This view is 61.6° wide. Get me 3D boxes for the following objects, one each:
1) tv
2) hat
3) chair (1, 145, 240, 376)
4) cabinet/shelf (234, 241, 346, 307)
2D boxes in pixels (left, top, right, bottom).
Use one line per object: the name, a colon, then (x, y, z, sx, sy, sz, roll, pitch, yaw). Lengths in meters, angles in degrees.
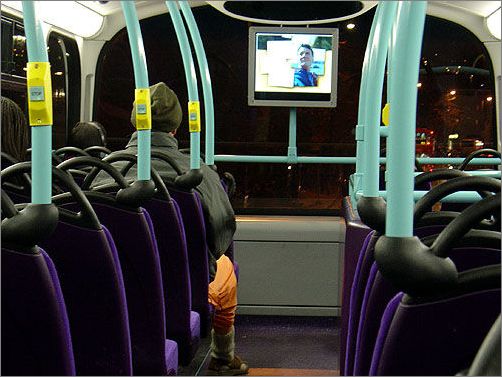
tv: (0.326, -1.015, 3.431, 0.612, 0.575, 0.065, 1, 1, -1)
hat: (-0.494, -0.439, 2.283, 0.206, 0.244, 0.302, -2, 8, 5)
chair: (-0.427, 0.190, 1.383, 0.758, 0.928, 0.546, 0, 1, -6)
cabinet/shelf: (0.313, 0.553, 3.673, 0.939, 0.636, 0.521, 1, -1, 0)
